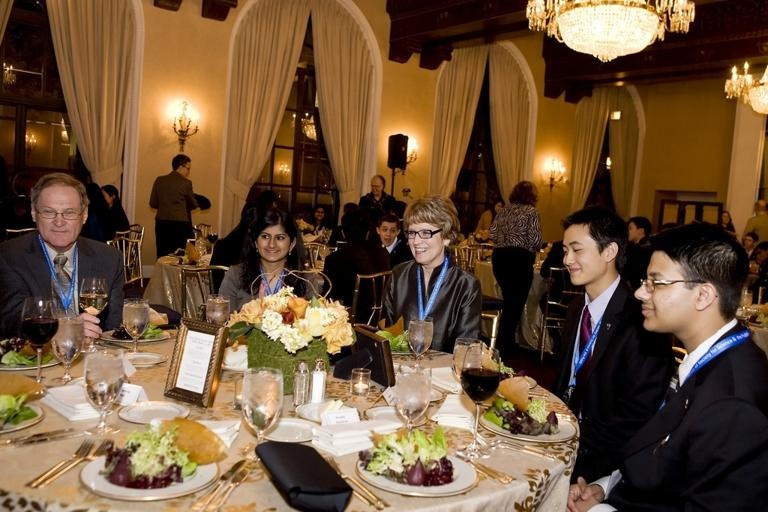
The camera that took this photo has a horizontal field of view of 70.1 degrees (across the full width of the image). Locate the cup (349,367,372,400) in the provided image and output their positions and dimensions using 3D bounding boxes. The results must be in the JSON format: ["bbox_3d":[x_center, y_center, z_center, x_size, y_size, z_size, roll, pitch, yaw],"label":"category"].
[{"bbox_3d":[-0.089,0.485,2.092,0.083,0.104,0.088,1,-2,0],"label":"cup"}]

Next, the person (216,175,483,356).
[{"bbox_3d":[-0.079,0.128,3.263,0.755,1.297,0.683,5,-6,-39],"label":"person"}]

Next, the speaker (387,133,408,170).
[{"bbox_3d":[0.244,-1.959,10.266,0.442,0.679,0.419,9,12,17],"label":"speaker"}]

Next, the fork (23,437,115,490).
[{"bbox_3d":[-0.852,0.565,1.546,0.069,0.045,0.297,4,16,23],"label":"fork"}]

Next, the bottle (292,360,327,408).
[{"bbox_3d":[-0.270,0.462,1.961,0.133,0.194,0.067,3,7,3],"label":"bottle"}]

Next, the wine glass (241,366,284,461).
[{"bbox_3d":[-0.370,0.456,1.644,0.114,0.278,0.195,2,12,-14],"label":"wine glass"}]

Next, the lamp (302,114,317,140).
[{"bbox_3d":[-1.375,-2.366,10.100,0.343,0.412,0.350,2,-7,-30],"label":"lamp"}]

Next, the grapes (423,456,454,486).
[{"bbox_3d":[0.157,0.617,1.544,0.053,0.033,0.072,2,-13,-45],"label":"grapes"}]

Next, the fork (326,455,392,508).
[{"bbox_3d":[-0.064,0.629,1.505,0.032,0.033,0.271,-8,18,-23],"label":"fork"}]

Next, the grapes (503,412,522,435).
[{"bbox_3d":[0.450,0.588,1.885,0.037,0.042,0.067,3,-1,1],"label":"grapes"}]

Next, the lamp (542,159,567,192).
[{"bbox_3d":[3.996,-1.902,13.012,0.633,0.856,0.650,0,1,33],"label":"lamp"}]
